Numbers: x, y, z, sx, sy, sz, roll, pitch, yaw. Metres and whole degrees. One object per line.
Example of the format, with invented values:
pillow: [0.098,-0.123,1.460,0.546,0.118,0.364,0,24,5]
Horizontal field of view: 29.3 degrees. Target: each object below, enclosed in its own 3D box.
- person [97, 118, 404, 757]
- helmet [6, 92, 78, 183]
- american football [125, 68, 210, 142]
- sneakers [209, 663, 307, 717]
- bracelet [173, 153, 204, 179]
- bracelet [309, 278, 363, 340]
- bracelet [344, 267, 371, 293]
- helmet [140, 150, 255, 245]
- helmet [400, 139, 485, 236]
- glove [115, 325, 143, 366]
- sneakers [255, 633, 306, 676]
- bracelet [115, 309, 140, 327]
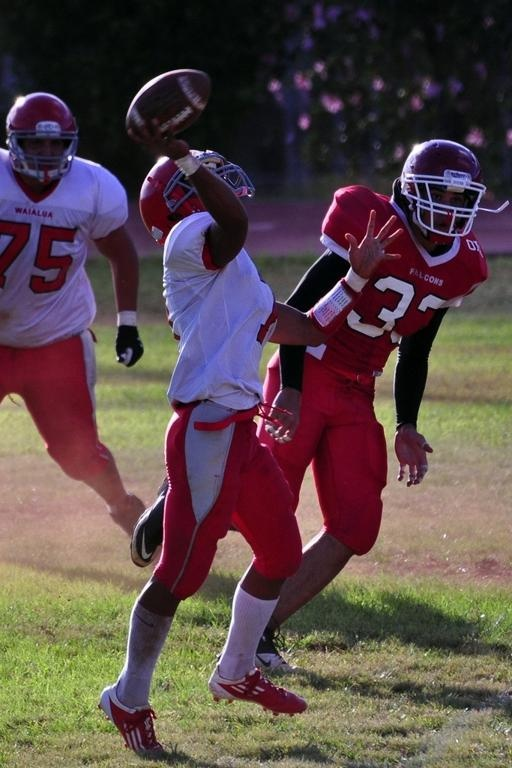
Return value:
person: [-0.143,0.168,2.614,0.567,1.607,0.393,-3,11,-20]
helmet: [-0.796,-0.908,3.579,0.342,0.303,0.367,-3,17,-23]
american football: [-0.205,-0.711,2.530,0.163,0.150,0.235,-2,35,-36]
sneakers: [0.006,0.859,2.769,0.312,0.110,0.114,11,-5,3]
bracelet: [-0.165,-0.548,2.477,0.085,0.054,0.073,-10,2,-39]
bracelet: [0.237,-0.228,2.883,0.067,0.182,0.103,-15,63,-40]
bracelet: [0.302,-0.308,2.902,0.085,0.068,0.064,35,13,-2]
helmet: [-0.196,-0.597,2.924,0.344,0.227,0.256,-22,4,0]
helmet: [0.620,-0.660,3.295,0.282,0.340,0.306,2,10,7]
glove: [-0.503,-0.148,3.881,0.144,0.149,0.082,-3,-3,-6]
sneakers: [0.108,0.888,3.177,0.228,0.121,0.067,13,-17,-13]
bracelet: [-0.524,-0.263,3.945,0.079,0.062,0.071,0,-6,-3]
